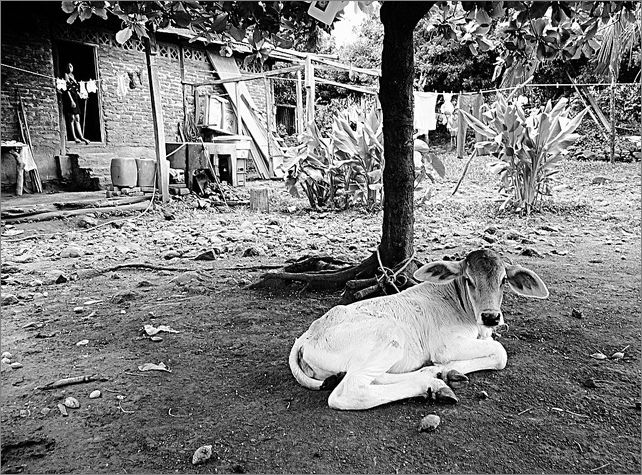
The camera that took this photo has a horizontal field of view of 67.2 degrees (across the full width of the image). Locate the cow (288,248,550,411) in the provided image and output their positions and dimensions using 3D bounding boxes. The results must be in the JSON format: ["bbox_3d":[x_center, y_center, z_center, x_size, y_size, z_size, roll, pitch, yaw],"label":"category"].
[{"bbox_3d":[0.605,0.570,3.211,1.426,0.762,0.941,-12,5,-7],"label":"cow"}]
